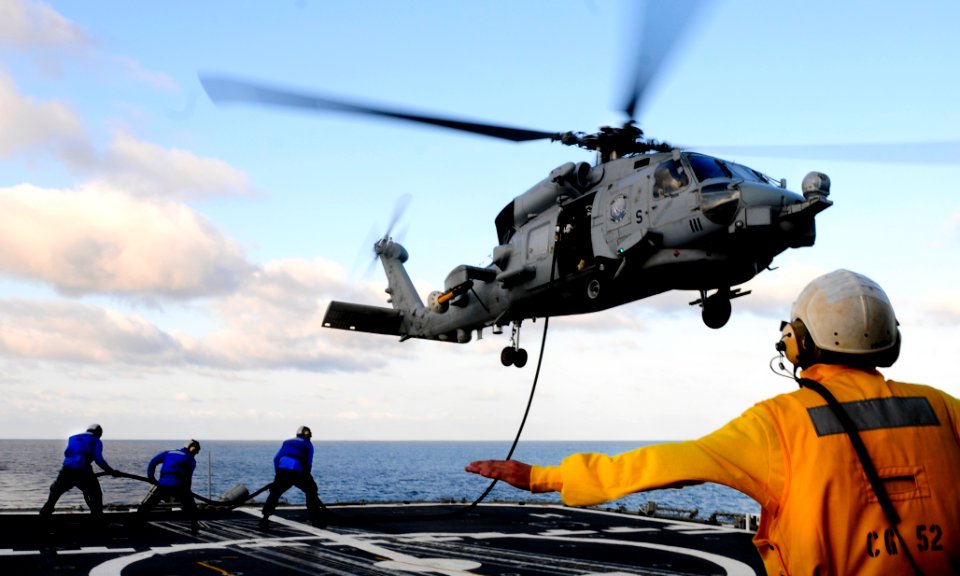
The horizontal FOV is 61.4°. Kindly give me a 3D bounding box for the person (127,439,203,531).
[{"bbox_3d":[-6.677,4.346,17.793,1.542,2.146,0.801,6,-32,-4],"label":"person"}]

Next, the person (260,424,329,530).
[{"bbox_3d":[-4.218,4.233,18.425,1.498,2.382,1.020,6,-31,-17],"label":"person"}]

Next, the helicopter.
[{"bbox_3d":[1.997,-1.307,19.160,8.520,3.037,9.542,4,-14,-38],"label":"helicopter"}]

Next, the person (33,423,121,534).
[{"bbox_3d":[-8.791,4.114,17.657,1.484,2.291,0.959,9,-22,-30],"label":"person"}]
